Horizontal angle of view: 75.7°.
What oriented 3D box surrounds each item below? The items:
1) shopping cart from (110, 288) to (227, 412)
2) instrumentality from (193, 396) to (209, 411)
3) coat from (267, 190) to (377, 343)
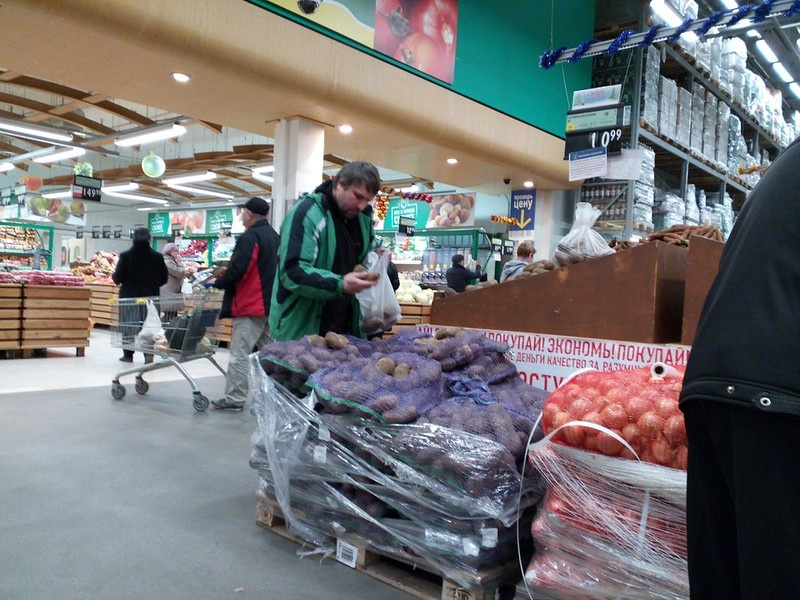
[{"bbox_3d":[-2.178,0.434,4.981,1.111,1.056,0.668,2,-1,18],"label":"shopping cart"},{"bbox_3d":[-1.777,0.914,4.570,0.142,0.105,0.131,3,1,-9],"label":"instrumentality"},{"bbox_3d":[-0.402,-0.196,2.631,0.494,0.633,0.426,3,1,-14],"label":"coat"}]
